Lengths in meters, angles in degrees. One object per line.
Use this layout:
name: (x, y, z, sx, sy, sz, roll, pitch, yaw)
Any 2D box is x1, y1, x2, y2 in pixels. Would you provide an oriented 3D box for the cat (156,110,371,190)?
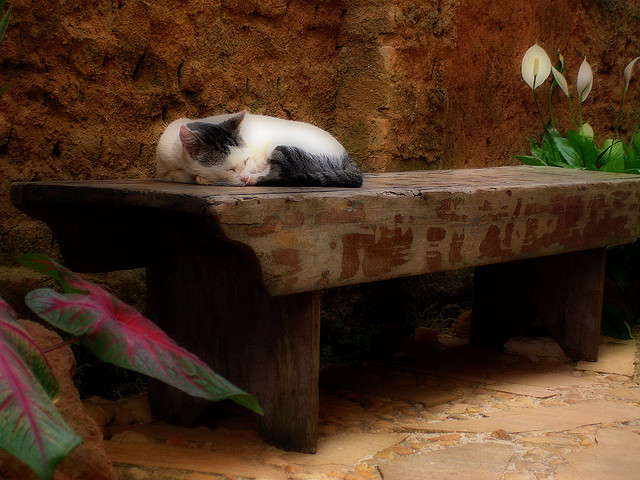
cat: (-0.222, -0.338, 2.587, 0.662, 0.189, 0.428, 5, -3, -27)
